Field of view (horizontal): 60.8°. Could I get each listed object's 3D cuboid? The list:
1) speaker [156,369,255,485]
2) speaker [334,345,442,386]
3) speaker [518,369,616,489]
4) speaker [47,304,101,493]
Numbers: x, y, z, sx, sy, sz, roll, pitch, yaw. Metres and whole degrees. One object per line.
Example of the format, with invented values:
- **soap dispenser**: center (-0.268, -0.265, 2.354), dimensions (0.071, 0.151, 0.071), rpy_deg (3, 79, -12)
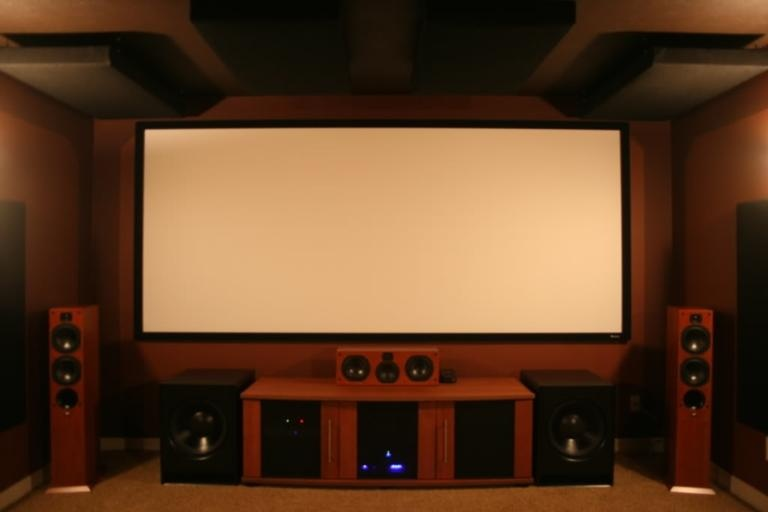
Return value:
- **speaker**: center (-1.489, 1.498, 5.883), dimensions (0.689, 0.830, 0.928), rpy_deg (0, -3, 4)
- **speaker**: center (0.034, 0.958, 5.652), dimensions (0.857, 0.294, 0.262), rpy_deg (0, -4, 0)
- **speaker**: center (1.613, 1.501, 5.880), dimensions (0.736, 0.822, 0.944), rpy_deg (1, -1, -3)
- **speaker**: center (-2.561, 1.181, 5.400), dimensions (0.486, 1.536, 0.281), rpy_deg (6, 6, -18)
